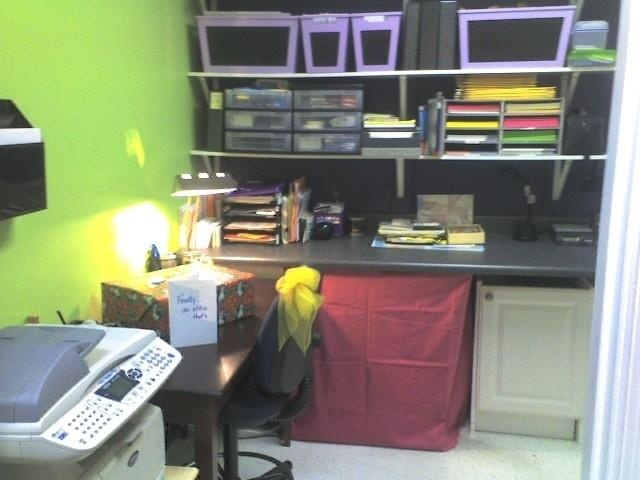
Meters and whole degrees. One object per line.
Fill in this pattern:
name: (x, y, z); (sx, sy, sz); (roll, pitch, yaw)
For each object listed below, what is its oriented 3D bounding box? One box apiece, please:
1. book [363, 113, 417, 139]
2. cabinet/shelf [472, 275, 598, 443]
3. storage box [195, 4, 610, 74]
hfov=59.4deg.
book: (0.398, -0.647, 3.185); (0.299, 0.131, 0.174); (1, 14, 6)
cabinet/shelf: (1.059, 0.602, 3.253); (0.756, 1.111, 0.749); (1, 3, 13)
storage box: (0.436, -1.075, 3.023); (2.136, 0.373, 0.279); (1, 14, 7)
